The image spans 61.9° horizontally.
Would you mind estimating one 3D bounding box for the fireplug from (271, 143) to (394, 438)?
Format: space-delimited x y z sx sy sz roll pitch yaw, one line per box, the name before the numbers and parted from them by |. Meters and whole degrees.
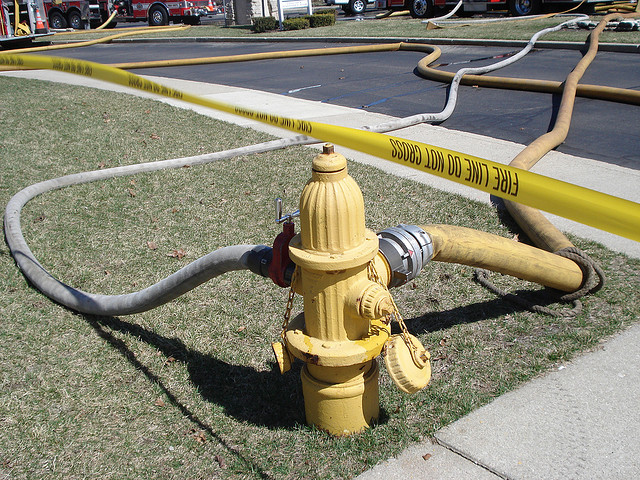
fireplug | 0.087 0.385 3.435 0.753 1.955 0.537 -2 28 0
